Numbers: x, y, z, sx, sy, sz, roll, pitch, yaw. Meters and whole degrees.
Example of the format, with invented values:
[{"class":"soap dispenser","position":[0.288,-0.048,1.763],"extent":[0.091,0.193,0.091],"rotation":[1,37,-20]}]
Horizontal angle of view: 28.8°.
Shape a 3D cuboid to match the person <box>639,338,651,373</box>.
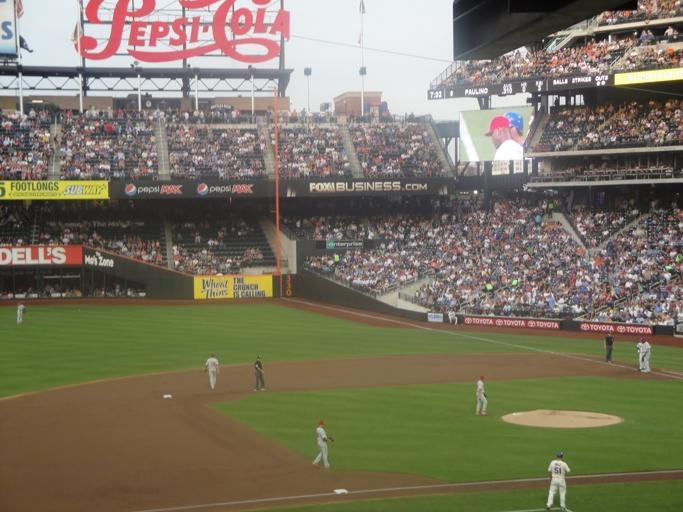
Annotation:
[{"class":"person","position":[18.650,6.166,82.183],"extent":[0.797,1.480,2.152],"rotation":[2,0,13]}]
